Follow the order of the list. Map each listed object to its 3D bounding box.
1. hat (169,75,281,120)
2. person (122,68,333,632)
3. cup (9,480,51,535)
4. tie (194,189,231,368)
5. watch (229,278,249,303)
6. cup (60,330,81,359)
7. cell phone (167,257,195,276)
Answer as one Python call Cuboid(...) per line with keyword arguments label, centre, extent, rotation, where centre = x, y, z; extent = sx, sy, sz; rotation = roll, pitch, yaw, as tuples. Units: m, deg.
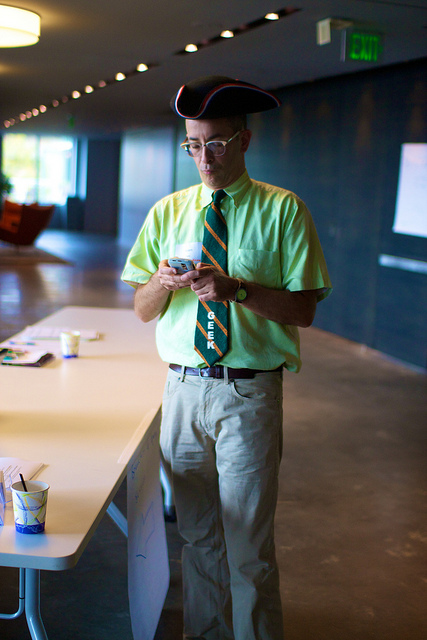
Cuboid(label="hat", centre=(0.020, -0.511, 1.328), extent=(0.205, 0.062, 0.151), rotation=(-8, 12, -21))
Cuboid(label="person", centre=(-0.004, 0.176, 1.530), extent=(0.544, 1.583, 0.403), rotation=(8, 14, 19))
Cuboid(label="cup", centre=(-0.325, 0.340, 1.002), extent=(0.071, 0.070, 0.068), rotation=(-3, -11, -1))
Cuboid(label="tie", centre=(0.006, -0.108, 1.421), extent=(0.091, 0.438, 0.195), rotation=(3, 13, -2))
Cuboid(label="watch", centre=(0.066, -0.064, 1.299), extent=(0.032, 0.048, 0.048), rotation=(0, 5, -19))
Cuboid(label="cup", centre=(-0.584, 0.098, 2.290), extent=(0.105, 0.112, 0.103), rotation=(1, 9, 0))
Cuboid(label="cell phone", centre=(-0.081, -0.125, 1.299), extent=(0.081, 0.040, 0.031), rotation=(11, 14, 32))
